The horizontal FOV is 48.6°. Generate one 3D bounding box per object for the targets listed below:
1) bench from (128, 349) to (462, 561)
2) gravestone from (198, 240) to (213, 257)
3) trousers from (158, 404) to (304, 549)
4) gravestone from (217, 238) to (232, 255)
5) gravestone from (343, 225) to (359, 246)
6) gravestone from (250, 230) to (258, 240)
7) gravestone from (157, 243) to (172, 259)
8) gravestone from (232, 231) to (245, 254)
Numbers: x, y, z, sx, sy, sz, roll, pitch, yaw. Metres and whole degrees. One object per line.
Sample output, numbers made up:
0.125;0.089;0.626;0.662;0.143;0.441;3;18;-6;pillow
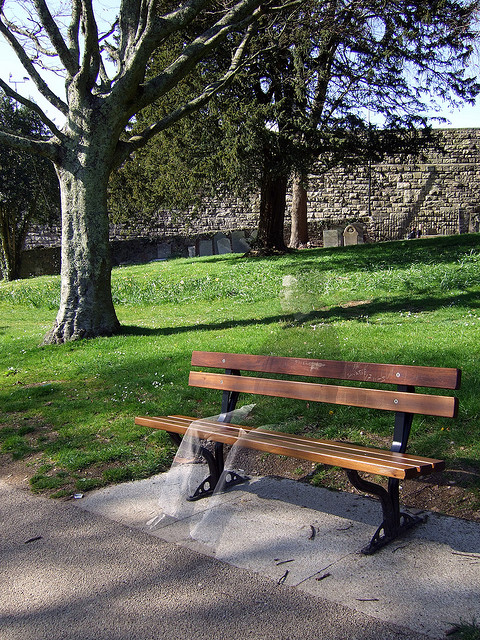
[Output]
0.242;0.697;3.107;0.650;0.906;1.901;-3;2;-45;bench
-1.735;-3.605;26.435;0.671;0.700;0.320;-7;10;-4;gravestone
-0.118;0.881;3.206;0.810;0.489;1.258;-8;9;-12;trousers
-0.810;-3.713;26.459;0.694;0.746;0.375;-7;10;-5;gravestone
5.111;-3.994;24.811;0.678;0.824;1.340;-4;9;12;gravestone
0.692;-4.442;27.740;0.137;0.386;0.576;16;12;1;gravestone
-4.147;-3.808;29.003;0.812;0.777;0.638;-7;9;-6;gravestone
-0.191;-3.948;26.690;0.430;0.995;0.852;0;11;34;gravestone
